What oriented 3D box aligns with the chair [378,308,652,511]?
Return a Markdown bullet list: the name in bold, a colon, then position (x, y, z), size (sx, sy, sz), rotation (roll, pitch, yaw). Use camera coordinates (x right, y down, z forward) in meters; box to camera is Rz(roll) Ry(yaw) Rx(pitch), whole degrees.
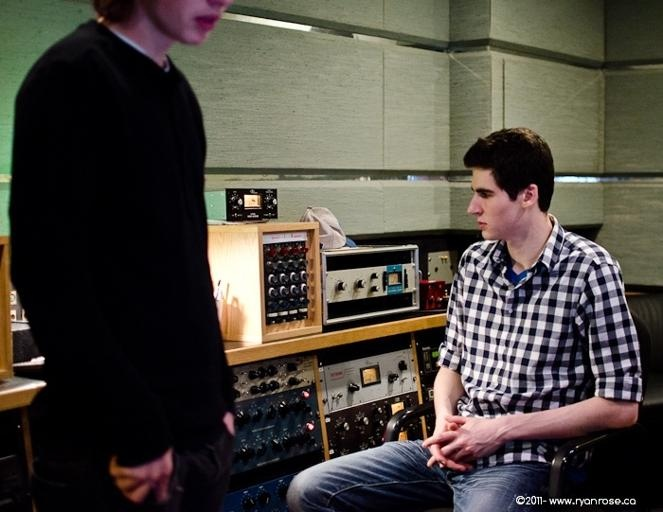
- **chair**: position (0.671, 0.558, 1.763), size (0.970, 0.656, 0.523), rotation (-2, 6, 3)
